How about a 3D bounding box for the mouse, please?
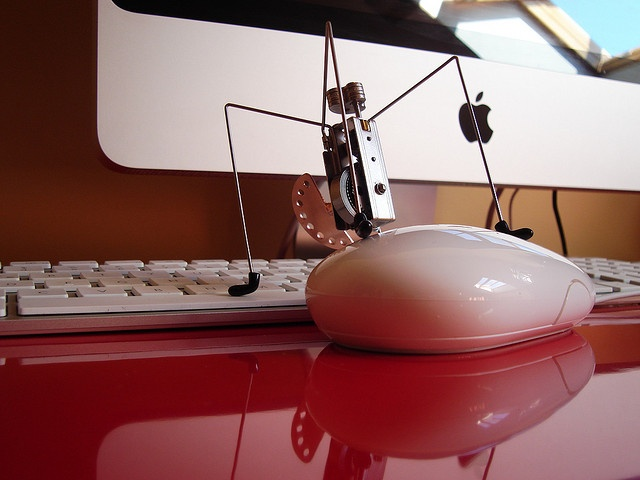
[{"bbox_3d":[0.091,0.036,0.316,0.136,0.054,0.097,-2,1,-27],"label":"mouse"}]
